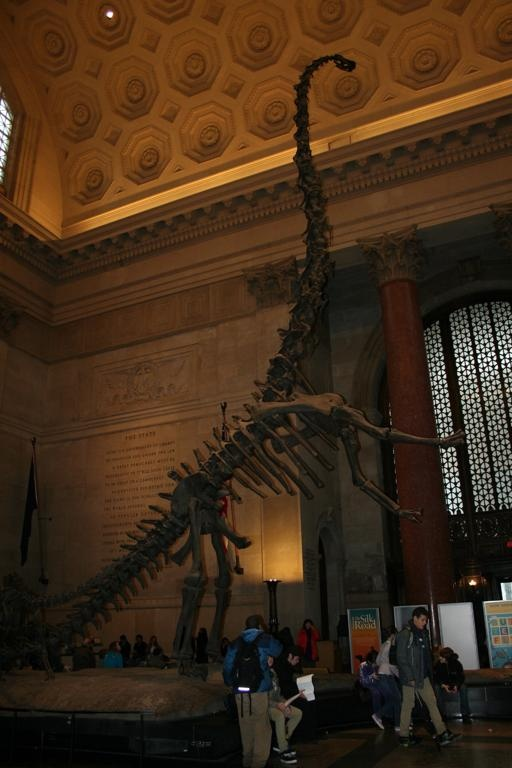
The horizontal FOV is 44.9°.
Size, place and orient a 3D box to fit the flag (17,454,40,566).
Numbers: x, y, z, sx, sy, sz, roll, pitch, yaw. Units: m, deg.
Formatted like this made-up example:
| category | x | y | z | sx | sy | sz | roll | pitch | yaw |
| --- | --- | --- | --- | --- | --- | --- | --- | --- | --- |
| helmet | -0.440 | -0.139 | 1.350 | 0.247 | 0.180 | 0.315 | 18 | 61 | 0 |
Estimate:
| category | x | y | z | sx | sy | sz | roll | pitch | yaw |
| --- | --- | --- | --- | --- | --- | --- | --- | --- | --- |
| flag | -4.215 | 2.296 | 11.531 | 0.275 | 2.087 | 0.725 | 3 | -19 | -20 |

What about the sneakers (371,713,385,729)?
| category | x | y | z | sx | sy | sz | roll | pitch | yaw |
| --- | --- | --- | --- | --- | --- | --- | --- | --- | --- |
| sneakers | 0.892 | 2.472 | 4.532 | 0.059 | 0.046 | 0.139 | 0 | -12 | 6 |
